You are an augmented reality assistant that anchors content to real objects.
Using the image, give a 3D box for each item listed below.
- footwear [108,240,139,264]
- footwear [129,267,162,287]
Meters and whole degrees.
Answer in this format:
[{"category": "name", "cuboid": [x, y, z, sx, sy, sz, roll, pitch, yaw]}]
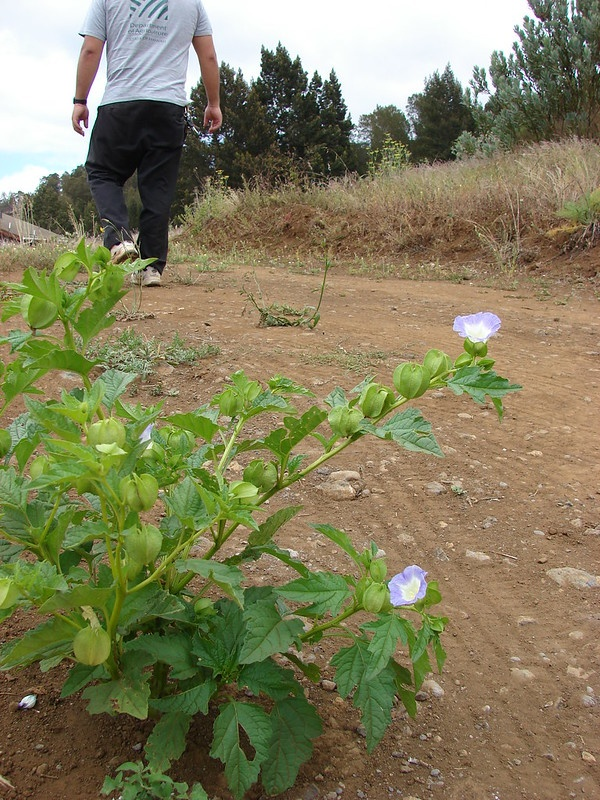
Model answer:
[{"category": "footwear", "cuboid": [-1.332, -1.121, 4.091, 0.185, 0.168, 0.397, -4, 12, -15]}, {"category": "footwear", "cuboid": [-1.487, -1.179, 5.285, 0.201, 0.222, 0.541, -9, 14, -44]}]
